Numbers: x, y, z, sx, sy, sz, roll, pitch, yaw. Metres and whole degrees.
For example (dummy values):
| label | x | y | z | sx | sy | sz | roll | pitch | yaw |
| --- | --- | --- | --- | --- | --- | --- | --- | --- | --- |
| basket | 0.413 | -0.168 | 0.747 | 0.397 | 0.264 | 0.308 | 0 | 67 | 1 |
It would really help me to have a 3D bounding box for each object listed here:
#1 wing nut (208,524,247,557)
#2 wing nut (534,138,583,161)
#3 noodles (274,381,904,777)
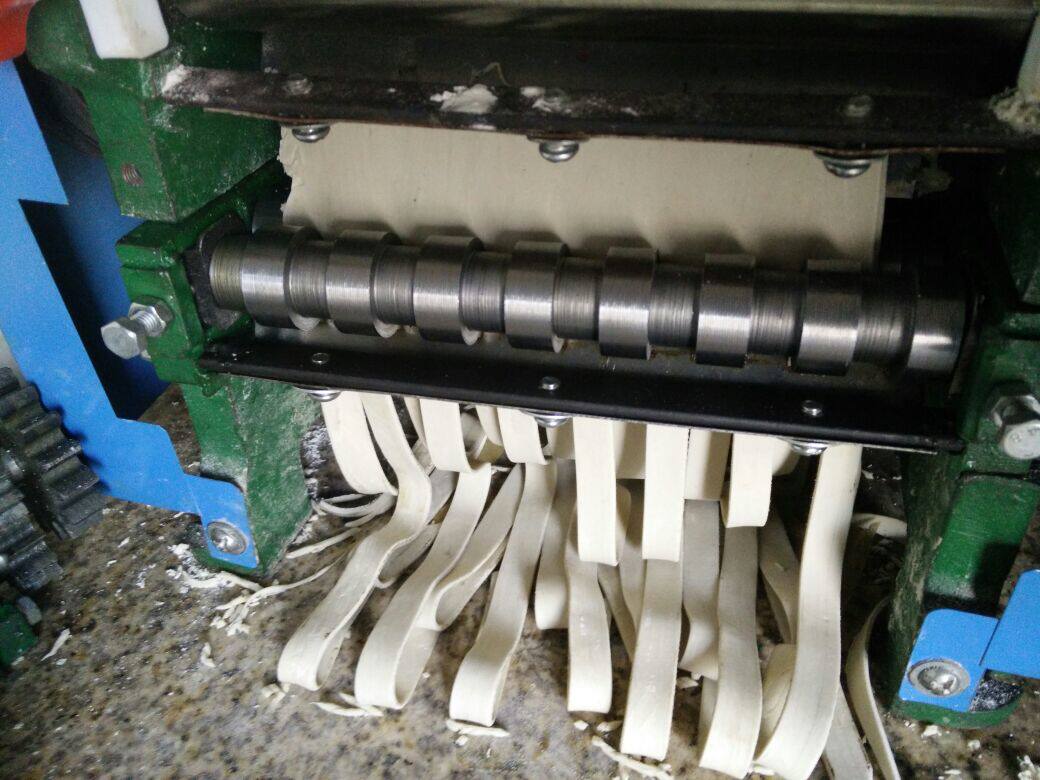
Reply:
| label | x | y | z | sx | sy | sz | roll | pitch | yaw |
| --- | --- | --- | --- | --- | --- | --- | --- | --- | --- |
| wing nut | -0.692 | 0.350 | 1.914 | 0.076 | 0.085 | 0.020 | -3 | 29 | 25 |
| wing nut | 0.073 | -0.434 | 1.450 | 0.044 | 0.033 | 0.049 | -1 | 21 | 1 |
| noodles | 0.132 | 0.507 | 1.894 | 1.080 | 0.405 | 0.860 | 5 | 47 | 13 |
